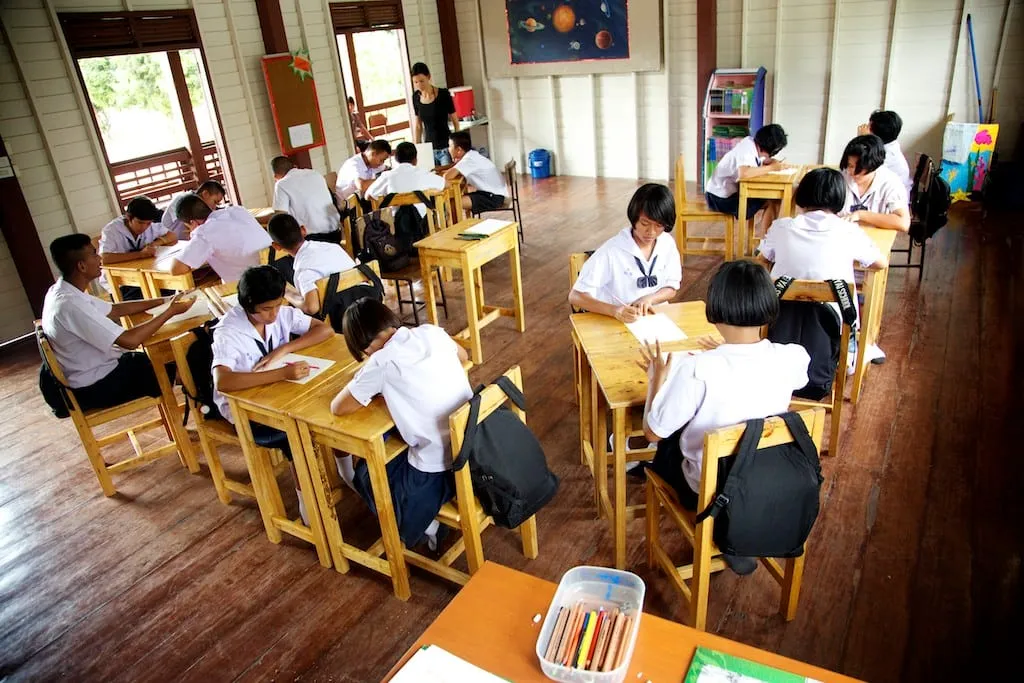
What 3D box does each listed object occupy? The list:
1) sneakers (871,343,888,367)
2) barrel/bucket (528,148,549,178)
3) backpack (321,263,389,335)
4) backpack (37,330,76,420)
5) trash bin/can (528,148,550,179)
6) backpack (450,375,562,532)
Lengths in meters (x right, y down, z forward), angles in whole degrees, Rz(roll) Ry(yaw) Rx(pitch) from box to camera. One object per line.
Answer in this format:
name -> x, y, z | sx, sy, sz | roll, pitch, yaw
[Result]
sneakers -> 2.876, 0.097, 5.066 | 0.157, 0.161, 0.053 | -16, 47, 28
barrel/bucket -> 0.545, -2.952, 10.565 | 0.390, 0.465, 0.465 | -10, 22, -1
backpack -> -1.061, -0.275, 4.189 | 0.387, 0.360, 0.285 | -31, 49, -30
backpack -> -3.042, 0.244, 4.370 | 0.165, 0.547, 0.381 | -18, 34, -25
trash bin/can -> 0.467, -2.892, 10.452 | 0.394, 0.461, 0.470 | -13, 21, 0
backpack -> -0.026, 0.615, 3.399 | 0.328, 0.711, 0.471 | 17, 34, 39
